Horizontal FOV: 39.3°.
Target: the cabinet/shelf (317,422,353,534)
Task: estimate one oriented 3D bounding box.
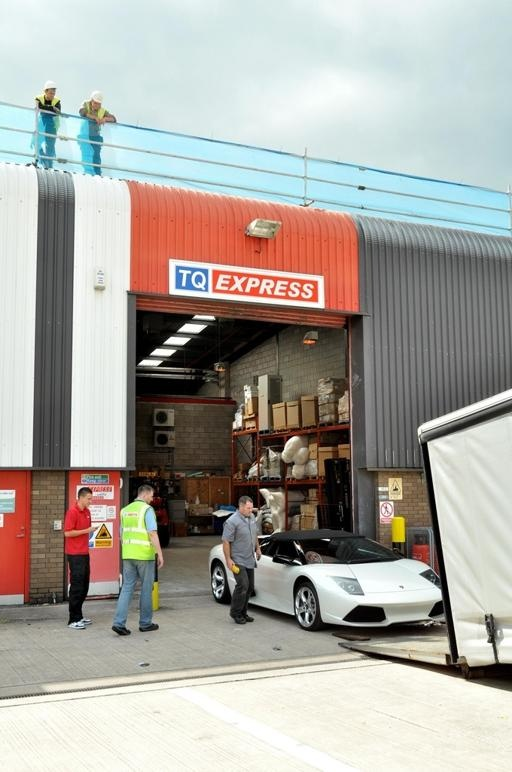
[{"bbox_3d":[1.742,2.018,16.130,0.760,2.265,4.032,-2,-4,5],"label":"cabinet/shelf"}]

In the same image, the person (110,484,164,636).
[{"bbox_3d":[-1.445,2.084,8.704,0.585,1.733,0.763,-1,-4,-9],"label":"person"}]

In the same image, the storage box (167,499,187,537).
[{"bbox_3d":[-2.736,4.617,25.028,0.584,1.378,1.935,-1,-4,-5],"label":"storage box"}]

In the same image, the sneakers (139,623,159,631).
[{"bbox_3d":[-1.281,2.893,8.660,0.241,0.102,0.089,1,3,-39],"label":"sneakers"}]

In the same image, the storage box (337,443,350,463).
[{"bbox_3d":[2.023,1.478,16.391,0.324,0.330,0.327,7,-11,-36],"label":"storage box"}]

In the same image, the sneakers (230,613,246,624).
[{"bbox_3d":[-0.220,2.969,9.191,0.080,0.101,0.230,3,-11,-19],"label":"sneakers"}]

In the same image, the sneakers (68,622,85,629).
[{"bbox_3d":[-2.244,2.975,8.953,0.230,0.105,0.075,-11,-15,44],"label":"sneakers"}]

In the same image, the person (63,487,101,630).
[{"bbox_3d":[-2.236,2.159,9.104,0.343,1.726,0.481,0,-4,-13],"label":"person"}]

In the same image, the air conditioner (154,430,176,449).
[{"bbox_3d":[-3.586,2.035,28.144,0.928,0.860,0.581,3,-12,-26],"label":"air conditioner"}]

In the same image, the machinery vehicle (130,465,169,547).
[{"bbox_3d":[-3.602,4.216,24.809,1.409,2.673,1.423,-3,10,-9],"label":"machinery vehicle"}]

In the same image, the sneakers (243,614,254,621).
[{"bbox_3d":[-0.100,2.999,9.310,0.057,0.076,0.173,3,-13,-22],"label":"sneakers"}]

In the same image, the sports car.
[{"bbox_3d":[0.899,2.446,9.086,1.161,0.687,2.196,6,-13,-29],"label":"sports car"}]

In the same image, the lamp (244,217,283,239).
[{"bbox_3d":[0.183,-2.872,13.112,0.680,0.244,0.490,0,-4,-23],"label":"lamp"}]

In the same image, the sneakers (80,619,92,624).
[{"bbox_3d":[-2.170,3.000,9.177,0.059,0.069,0.167,4,-12,-25],"label":"sneakers"}]

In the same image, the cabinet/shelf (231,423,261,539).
[{"bbox_3d":[-0.483,2.801,25.081,0.838,2.476,0.742,-4,-7,-29],"label":"cabinet/shelf"}]
